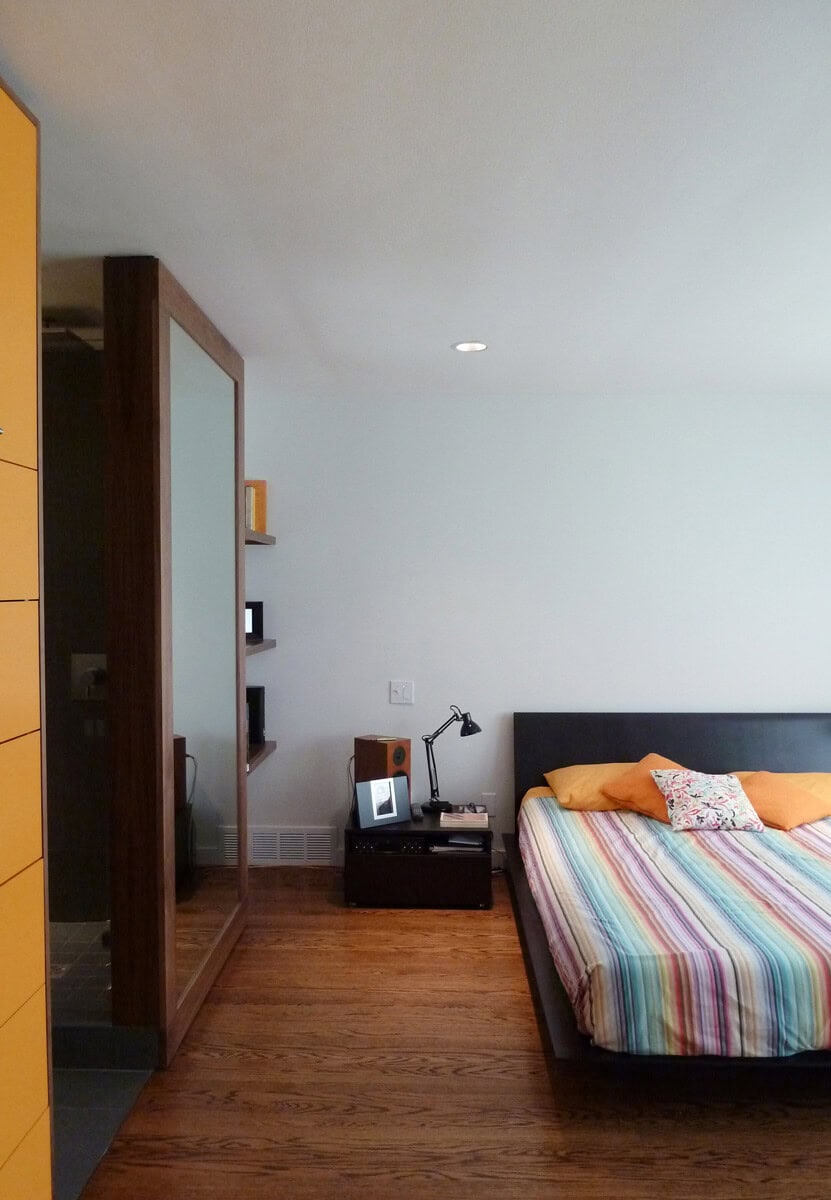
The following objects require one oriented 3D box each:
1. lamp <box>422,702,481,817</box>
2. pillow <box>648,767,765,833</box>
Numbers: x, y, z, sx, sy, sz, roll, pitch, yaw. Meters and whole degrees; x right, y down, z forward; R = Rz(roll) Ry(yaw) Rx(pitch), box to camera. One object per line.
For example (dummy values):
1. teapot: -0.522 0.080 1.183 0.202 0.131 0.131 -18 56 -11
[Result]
1. lamp: 0.136 0.651 3.926 0.240 0.401 0.357 0 3 3
2. pillow: 1.059 0.722 3.543 0.340 0.163 0.351 0 3 -2
